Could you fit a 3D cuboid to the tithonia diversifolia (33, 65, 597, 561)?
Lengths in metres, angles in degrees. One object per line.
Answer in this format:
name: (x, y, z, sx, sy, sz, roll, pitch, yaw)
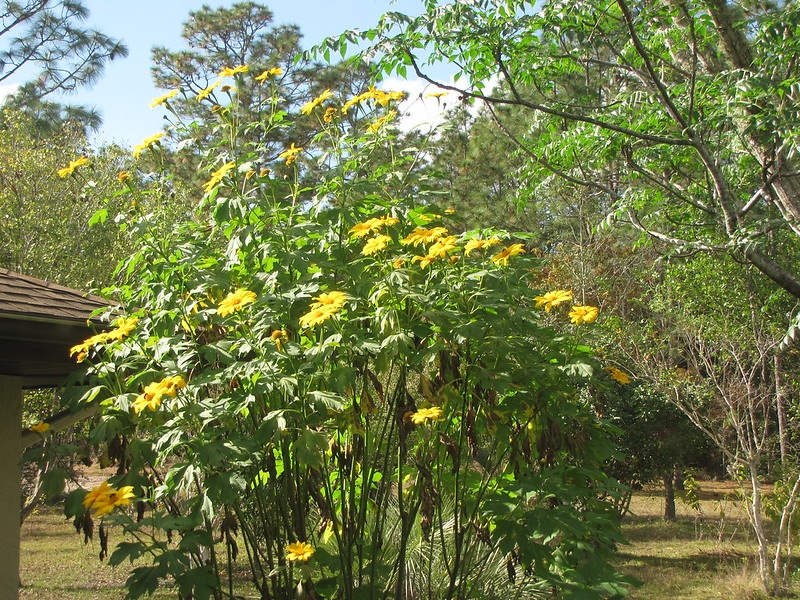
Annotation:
tithonia diversifolia: (-0.401, -0.090, 3.876, 2.534, 3.532, 2.044, 8, -22, -18)
